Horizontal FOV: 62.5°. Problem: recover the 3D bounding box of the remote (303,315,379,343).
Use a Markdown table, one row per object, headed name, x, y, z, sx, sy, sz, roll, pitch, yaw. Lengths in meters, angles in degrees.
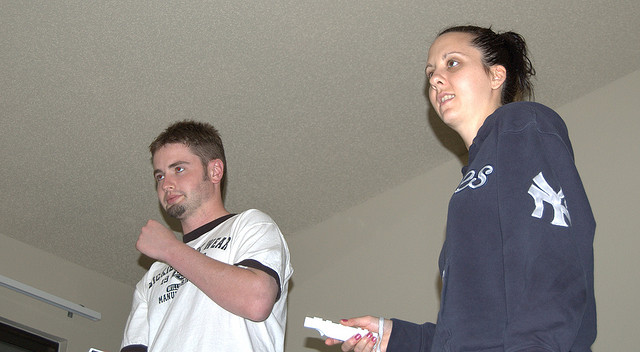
| name | x | y | z | sx | sy | sz | roll | pitch | yaw |
| --- | --- | --- | --- | --- | --- | --- | --- | --- | --- |
| remote | 0.116 | 0.762 | 2.616 | 0.456 | 0.119 | 0.067 | -11 | -22 | 37 |
